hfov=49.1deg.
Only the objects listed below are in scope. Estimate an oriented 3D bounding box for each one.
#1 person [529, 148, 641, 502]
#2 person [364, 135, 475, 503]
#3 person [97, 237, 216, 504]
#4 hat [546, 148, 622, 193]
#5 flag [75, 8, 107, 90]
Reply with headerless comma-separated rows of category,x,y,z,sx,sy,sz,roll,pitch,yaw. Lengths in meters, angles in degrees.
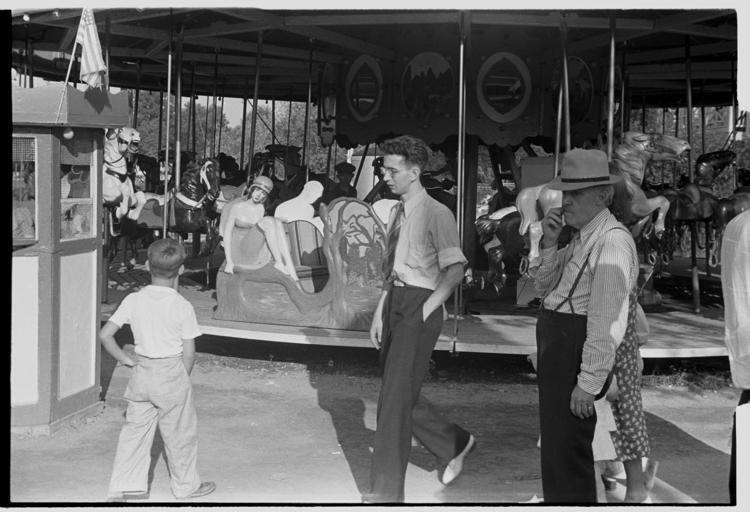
person,1.560,0.520,6.165,0.705,2.592,0.637,4,9,21
person,0.336,0.551,6.676,0.932,2.999,0.694,-3,9,-21
person,-1.760,0.954,6.700,0.826,2.095,0.325,-2,9,-14
hat,1.580,-0.654,6.236,0.602,0.282,0.563,-8,8,0
flag,-2.837,-2.084,8.231,0.266,0.802,0.799,-2,10,-19
